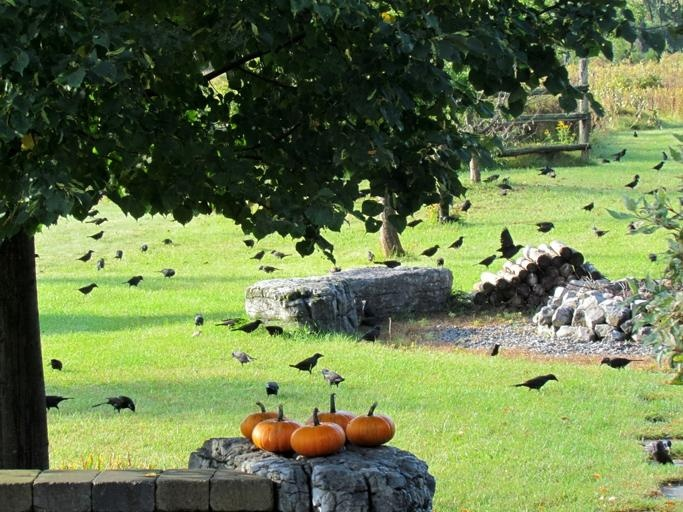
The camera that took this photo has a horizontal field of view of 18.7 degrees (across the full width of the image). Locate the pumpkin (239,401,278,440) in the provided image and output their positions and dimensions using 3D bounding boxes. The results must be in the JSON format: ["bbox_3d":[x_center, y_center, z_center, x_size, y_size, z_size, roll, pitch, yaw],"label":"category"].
[{"bbox_3d":[-1.359,2.883,36.240,0.641,0.677,0.686,5,-6,17],"label":"pumpkin"}]

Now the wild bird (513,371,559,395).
[{"bbox_3d":[3.807,2.448,40.217,1.046,0.291,0.552,-4,4,-21],"label":"wild bird"}]

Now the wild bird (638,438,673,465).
[{"bbox_3d":[5.824,3.605,37.949,0.215,0.394,0.788,-3,-13,-3],"label":"wild bird"}]

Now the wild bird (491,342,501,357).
[{"bbox_3d":[3.175,1.872,42.328,0.107,0.191,0.374,7,33,19],"label":"wild bird"}]

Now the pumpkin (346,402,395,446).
[{"bbox_3d":[0.527,2.884,35.655,0.814,0.771,0.342,-2,3,-3],"label":"pumpkin"}]

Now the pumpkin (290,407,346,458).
[{"bbox_3d":[-0.348,2.995,35.783,0.774,0.896,1.520,-1,6,2],"label":"pumpkin"}]
